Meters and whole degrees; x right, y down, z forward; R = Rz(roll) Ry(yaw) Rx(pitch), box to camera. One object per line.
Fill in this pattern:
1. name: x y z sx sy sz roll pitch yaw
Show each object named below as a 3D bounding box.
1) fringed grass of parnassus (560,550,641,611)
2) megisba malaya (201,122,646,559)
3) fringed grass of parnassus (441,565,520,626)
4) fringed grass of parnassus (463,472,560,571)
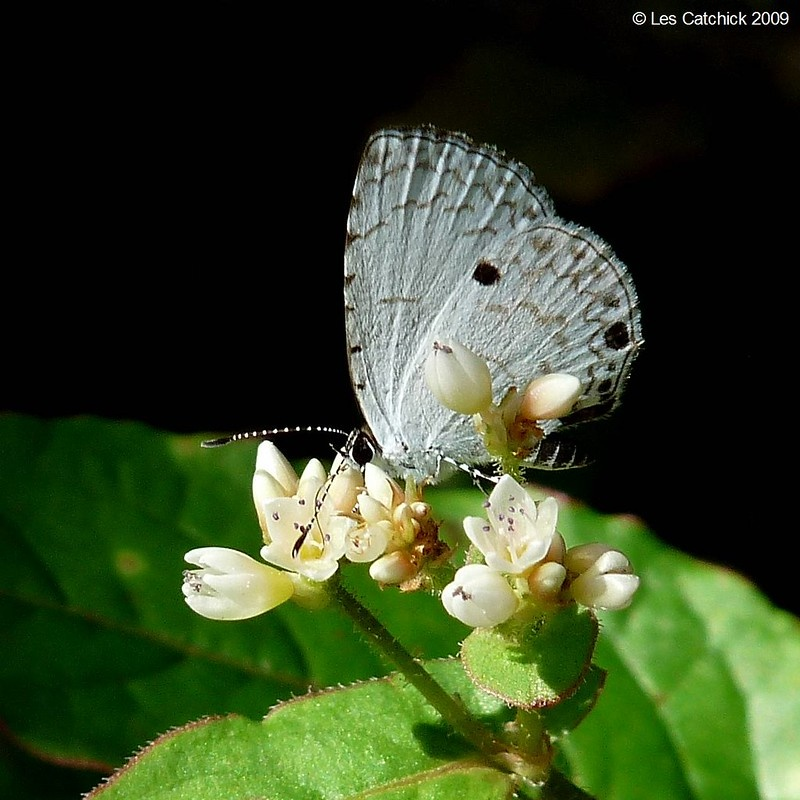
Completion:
1. fringed grass of parnassus: 0.339 0.299 1.564 0.125 0.102 0.127 10 23 15
2. megisba malaya: 0.198 -0.187 2.053 0.657 0.774 0.212 -1 22 -10
3. fringed grass of parnassus: 0.137 0.337 1.576 0.117 0.086 0.096 18 35 -48
4. fringed grass of parnassus: 0.188 0.212 1.567 0.138 0.169 0.104 -1 -11 17
